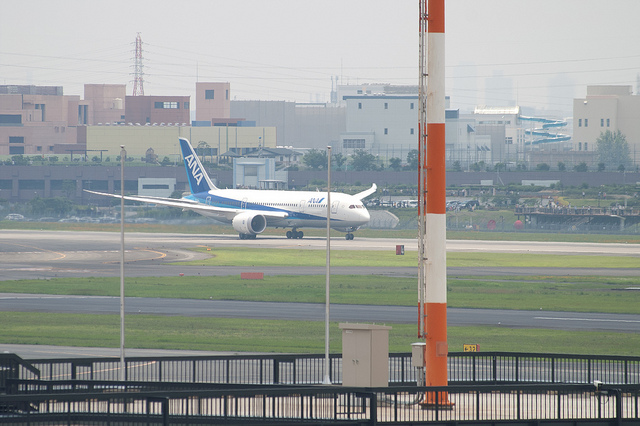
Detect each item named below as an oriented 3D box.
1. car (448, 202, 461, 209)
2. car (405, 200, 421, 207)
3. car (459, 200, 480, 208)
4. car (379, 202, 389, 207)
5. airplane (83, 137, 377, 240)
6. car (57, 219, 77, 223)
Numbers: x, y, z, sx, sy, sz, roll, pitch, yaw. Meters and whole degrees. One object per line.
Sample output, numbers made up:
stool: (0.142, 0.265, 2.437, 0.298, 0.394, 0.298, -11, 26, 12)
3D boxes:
car: (25.499, -1.487, 328.734, 2.226, 1.672, 4.565, 0, -5, 4)
car: (17.468, -1.967, 333.862, 1.981, 1.385, 4.236, 0, -4, 5)
car: (28.252, -1.689, 329.456, 2.798, 1.104, 1.719, 1, 1, -8)
car: (12.579, -1.811, 334.438, 1.734, 1.087, 4.466, 0, -4, 4)
airplane: (-7.679, -3.821, 302.001, 61.651, 15.807, 50.500, -1, 3, -39)
car: (-46.646, 1.470, 328.904, 3.377, 0.961, 5.383, 1, -4, -6)
